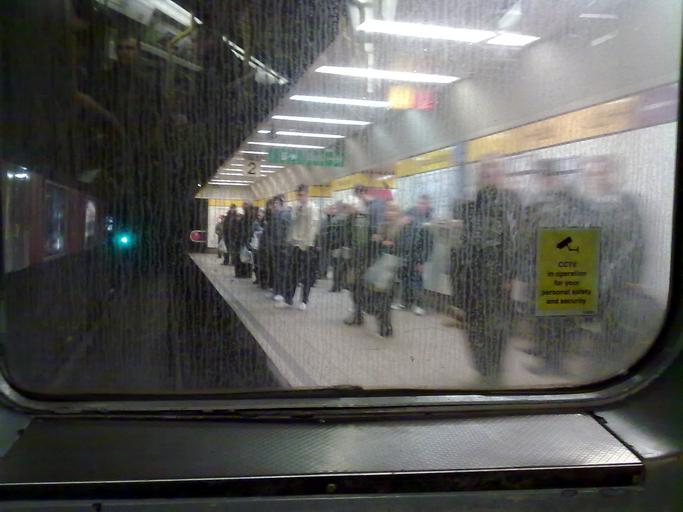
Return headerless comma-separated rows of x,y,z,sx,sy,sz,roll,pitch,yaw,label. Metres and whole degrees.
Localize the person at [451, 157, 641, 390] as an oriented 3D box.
0.595,0.048,1.520,0.535,0.643,0.114,-1,3,-13,person
